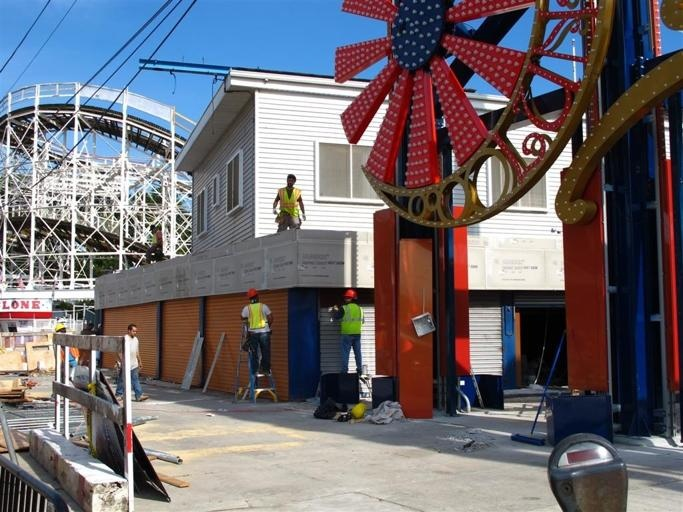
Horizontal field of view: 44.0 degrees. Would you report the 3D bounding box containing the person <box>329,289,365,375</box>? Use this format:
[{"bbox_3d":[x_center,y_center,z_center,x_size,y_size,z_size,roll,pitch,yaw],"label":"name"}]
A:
[{"bbox_3d":[0.128,1.700,19.440,0.712,2.134,1.291,1,-11,0],"label":"person"}]

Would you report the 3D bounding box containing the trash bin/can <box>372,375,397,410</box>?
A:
[{"bbox_3d":[0.821,2.707,16.750,0.490,0.891,0.575,0,-9,10],"label":"trash bin/can"}]

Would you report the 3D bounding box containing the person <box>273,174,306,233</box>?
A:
[{"bbox_3d":[-1.325,-1.090,21.102,0.605,1.792,0.454,3,11,1],"label":"person"}]

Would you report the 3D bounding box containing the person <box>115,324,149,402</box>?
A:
[{"bbox_3d":[-4.577,2.375,18.408,0.728,1.646,0.561,4,4,15],"label":"person"}]

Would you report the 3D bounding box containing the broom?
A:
[{"bbox_3d":[4.416,2.961,19.077,0.717,2.289,0.882,0,2,-6],"label":"broom"}]
